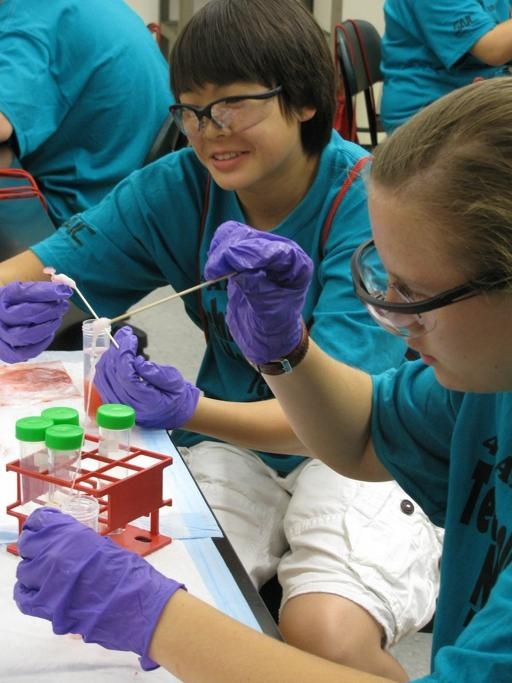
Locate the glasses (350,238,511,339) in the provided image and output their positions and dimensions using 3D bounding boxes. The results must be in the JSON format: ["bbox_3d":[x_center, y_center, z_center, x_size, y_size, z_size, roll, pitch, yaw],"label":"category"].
[{"bbox_3d":[0.209,-0.049,0.757,0.141,0.035,0.132,-20,24,5],"label":"glasses"}]

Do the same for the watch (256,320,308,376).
[{"bbox_3d":[0.041,0.008,1.026,0.075,0.029,0.074,-11,31,35],"label":"watch"}]

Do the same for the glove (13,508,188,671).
[{"bbox_3d":[-0.180,0.272,0.699,0.198,0.069,0.119,32,57,5],"label":"glove"}]

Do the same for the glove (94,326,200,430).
[{"bbox_3d":[-0.268,0.100,1.450,0.305,0.192,0.203,15,-17,-31],"label":"glove"}]

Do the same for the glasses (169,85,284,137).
[{"bbox_3d":[-0.043,-0.527,1.470,0.243,0.067,0.225,3,26,30],"label":"glasses"}]
